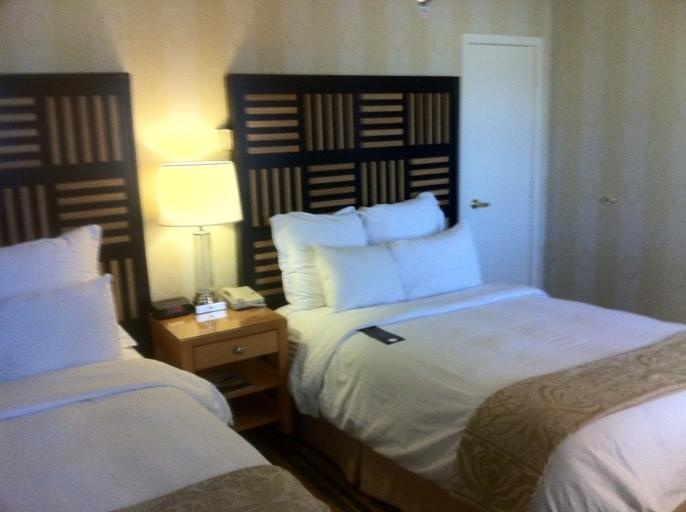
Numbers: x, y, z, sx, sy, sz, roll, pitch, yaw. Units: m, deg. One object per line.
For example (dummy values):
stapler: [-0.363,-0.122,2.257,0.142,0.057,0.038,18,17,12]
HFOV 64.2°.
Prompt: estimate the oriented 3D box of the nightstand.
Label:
nightstand: [-0.617,0.742,3.459,0.863,0.906,0.761,-9,15,-33]

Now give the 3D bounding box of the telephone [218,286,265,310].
telephone: [-0.623,0.252,3.359,0.177,0.048,0.176,-8,26,-34]

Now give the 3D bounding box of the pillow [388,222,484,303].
pillow: [0.616,0.033,3.559,0.671,0.396,0.235,-13,14,-28]

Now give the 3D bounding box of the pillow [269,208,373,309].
pillow: [-0.159,0.014,3.387,0.645,0.602,0.192,-10,0,-39]

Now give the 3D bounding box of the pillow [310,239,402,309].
pillow: [0.093,0.124,3.258,0.479,0.386,0.144,-8,-12,-25]
